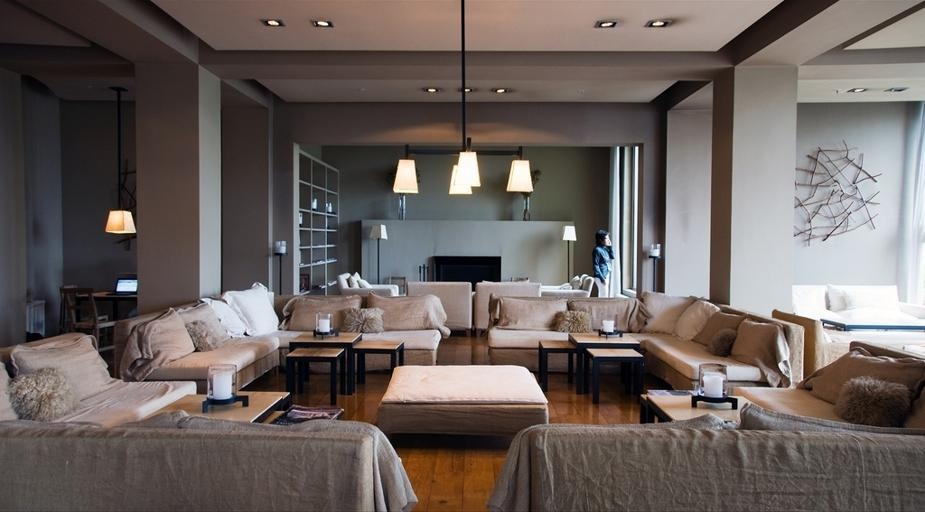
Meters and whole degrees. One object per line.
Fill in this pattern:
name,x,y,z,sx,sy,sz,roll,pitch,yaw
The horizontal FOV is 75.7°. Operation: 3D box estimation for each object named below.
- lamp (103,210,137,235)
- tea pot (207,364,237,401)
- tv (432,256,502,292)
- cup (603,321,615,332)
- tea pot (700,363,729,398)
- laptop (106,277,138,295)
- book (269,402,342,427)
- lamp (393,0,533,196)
lamp,-5.497,-0.492,9.711,0.488,0.438,0.527,1,-4,-19
tea pot,-2.360,1.301,5.957,0.252,0.217,0.246,-2,-10,0
tv,0.111,0.656,14.286,1.793,0.864,1.082,4,9,2
cup,1.950,0.948,7.968,0.183,0.141,0.133,2,-1,-17
tea pot,2.451,1.282,6.045,0.321,0.301,0.297,1,-8,0
laptop,-5.461,0.493,9.604,0.322,0.180,0.237,0,-6,-10
book,-1.541,1.583,5.951,0.441,0.115,0.402,1,-1,1
lamp,-0.058,-1.922,8.942,1.586,2.239,4.822,0,1,-2
